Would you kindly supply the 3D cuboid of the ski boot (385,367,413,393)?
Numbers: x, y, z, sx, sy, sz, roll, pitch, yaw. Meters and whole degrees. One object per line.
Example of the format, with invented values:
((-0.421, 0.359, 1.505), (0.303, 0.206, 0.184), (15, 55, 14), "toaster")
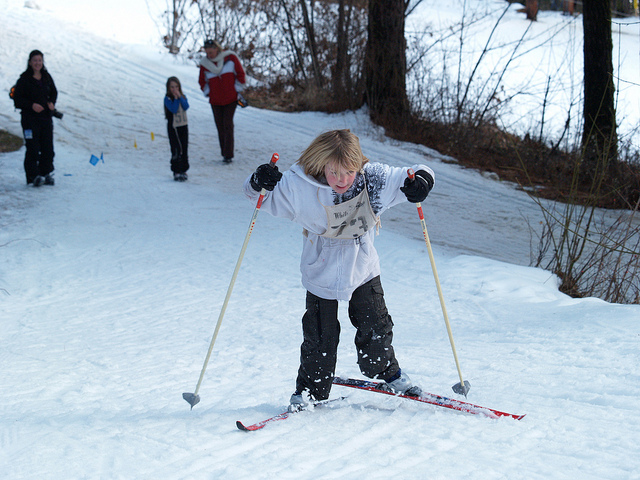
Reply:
((0.754, 1.222, 5.769), (0.202, 0.161, 0.163), (-8, -2, 28), "ski boot")

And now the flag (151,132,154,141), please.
((-3.266, -1.995, 12.060), (0.073, 0.055, 0.247), (-27, 41, -1), "flag")

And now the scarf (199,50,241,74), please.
((-1.788, -2.949, 10.641), (0.398, 0.204, 0.463), (-20, 2, -3), "scarf")

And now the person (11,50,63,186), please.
((-4.176, -1.749, 9.082), (0.630, 1.846, 0.489), (-2, 19, -25), "person")

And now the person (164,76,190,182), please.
((-2.322, -1.769, 10.037), (0.417, 1.545, 0.462), (2, 18, -13), "person")

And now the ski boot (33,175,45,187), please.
((-4.188, -0.897, 9.237), (0.158, 0.081, 0.129), (-14, 23, -39), "ski boot")

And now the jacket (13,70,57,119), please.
((-4.132, -2.135, 9.042), (0.368, 0.645, 0.673), (10, 20, 32), "jacket")

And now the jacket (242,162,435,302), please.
((0.225, -0.089, 5.458), (1.592, 1.164, 0.560), (-1, 4, 15), "jacket")

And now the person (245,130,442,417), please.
((0.163, 0.292, 5.495), (1.534, 2.440, 0.572), (5, 17, -6), "person")

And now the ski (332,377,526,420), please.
((1.029, 1.389, 5.768), (1.315, 0.096, 0.150), (10, 9, 10), "ski")
